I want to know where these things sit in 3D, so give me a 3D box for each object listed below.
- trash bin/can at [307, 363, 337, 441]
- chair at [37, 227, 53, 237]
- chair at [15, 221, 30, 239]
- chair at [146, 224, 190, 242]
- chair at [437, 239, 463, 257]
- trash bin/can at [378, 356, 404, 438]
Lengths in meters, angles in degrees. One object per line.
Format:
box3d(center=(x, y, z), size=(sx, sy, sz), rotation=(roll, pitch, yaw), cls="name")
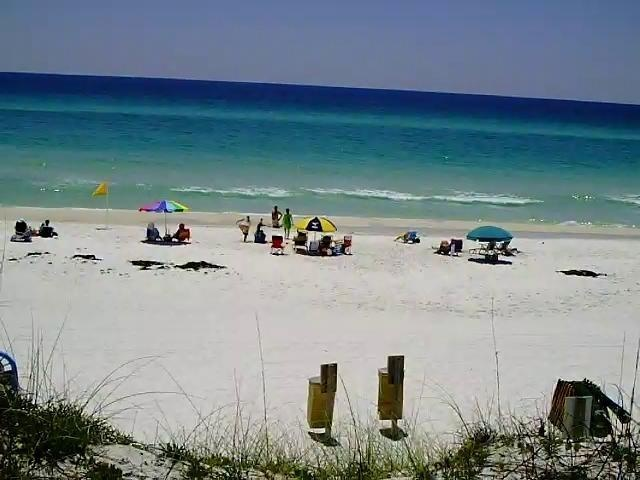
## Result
box3d(center=(0.046, 2.943, 14.993), size=(0.525, 1.411, 0.337), rotation=(1, -6, -3), cls="trash bin/can")
box3d(center=(-7.797, -0.255, 23.941), size=(0.248, 0.203, 0.370), rotation=(1, 16, -16), cls="chair")
box3d(center=(-8.385, -0.315, 23.439), size=(0.313, 0.518, 0.509), rotation=(3, -1, 3), cls="chair")
box3d(center=(-4.495, -0.132, 24.968), size=(0.902, 0.324, 0.669), rotation=(0, 4, -5), cls="chair")
box3d(center=(3.891, 0.230, 25.277), size=(0.640, 0.278, 0.498), rotation=(0, 6, 18), cls="chair")
box3d(center=(1.286, 2.871, 15.196), size=(0.488, 1.504, 0.426), rotation=(1, -6, 3), cls="trash bin/can")
